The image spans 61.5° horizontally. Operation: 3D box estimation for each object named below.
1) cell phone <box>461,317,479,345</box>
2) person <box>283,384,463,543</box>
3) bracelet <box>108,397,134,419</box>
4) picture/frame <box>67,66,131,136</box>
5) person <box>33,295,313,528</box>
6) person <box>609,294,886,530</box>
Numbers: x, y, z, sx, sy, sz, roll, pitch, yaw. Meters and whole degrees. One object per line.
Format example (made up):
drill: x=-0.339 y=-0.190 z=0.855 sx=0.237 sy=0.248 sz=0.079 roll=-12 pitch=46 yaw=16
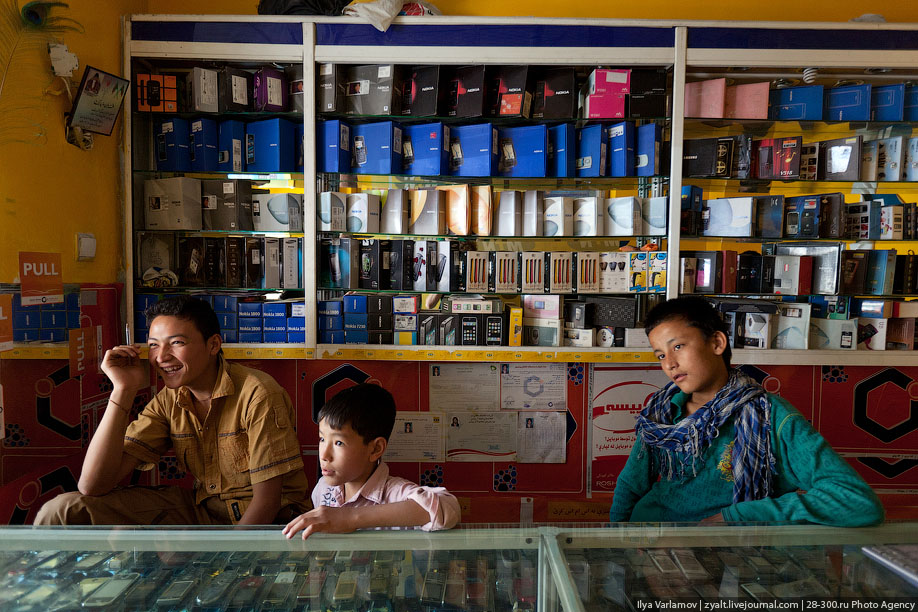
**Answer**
cell phone: x=0.067 y=0.153 z=4.776 sx=0.125 sy=0.166 sz=0.177 roll=-1 pitch=5 yaw=6
person: x=-0.415 y=0.712 z=3.375 sx=0.509 sy=0.637 sz=1.020 roll=2 pitch=-5 yaw=-39
bracelet: x=-1.589 y=0.467 z=3.616 sx=0.105 sy=0.113 sz=0.088 roll=-3 pitch=3 yaw=-25
picture/frame: x=-2.091 y=-1.181 z=4.506 sx=0.145 sy=0.357 sz=0.334 roll=-1 pitch=3 yaw=24
person: x=-1.287 y=0.496 z=3.637 sx=1.122 sy=1.088 sz=0.386 roll=-2 pitch=3 yaw=2
person: x=1.143 y=0.462 z=3.191 sx=0.404 sy=0.978 sz=0.994 roll=-4 pitch=4 yaw=-41
